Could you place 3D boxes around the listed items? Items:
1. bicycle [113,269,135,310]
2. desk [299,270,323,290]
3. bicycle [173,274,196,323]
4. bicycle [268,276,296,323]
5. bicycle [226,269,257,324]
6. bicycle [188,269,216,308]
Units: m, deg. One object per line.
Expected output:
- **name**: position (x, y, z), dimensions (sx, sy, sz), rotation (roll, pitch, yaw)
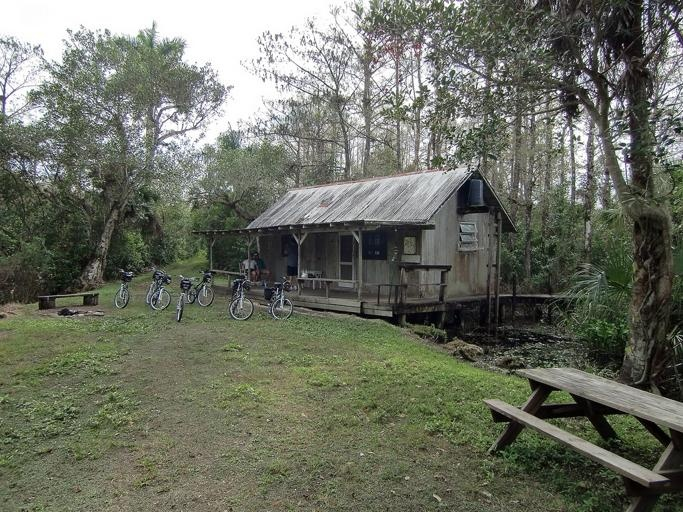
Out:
- **bicycle**: position (-7.329, 1.044, 17.245), dimensions (0.663, 1.221, 1.753), rotation (10, 9, -25)
- **desk**: position (-1.195, 0.893, 20.519), dimensions (0.946, 0.881, 0.705), rotation (5, 11, 22)
- **bicycle**: position (-4.626, 1.250, 15.414), dimensions (0.751, 1.151, 1.710), rotation (11, 2, -25)
- **bicycle**: position (-1.864, 1.320, 15.448), dimensions (0.720, 1.035, 1.277), rotation (-4, 13, -8)
- **bicycle**: position (-3.068, 1.328, 15.644), dimensions (0.698, 1.017, 1.457), rotation (10, -1, -31)
- **bicycle**: position (-4.996, 1.175, 17.904), dimensions (1.542, 1.127, 0.729), rotation (-5, -14, 40)
